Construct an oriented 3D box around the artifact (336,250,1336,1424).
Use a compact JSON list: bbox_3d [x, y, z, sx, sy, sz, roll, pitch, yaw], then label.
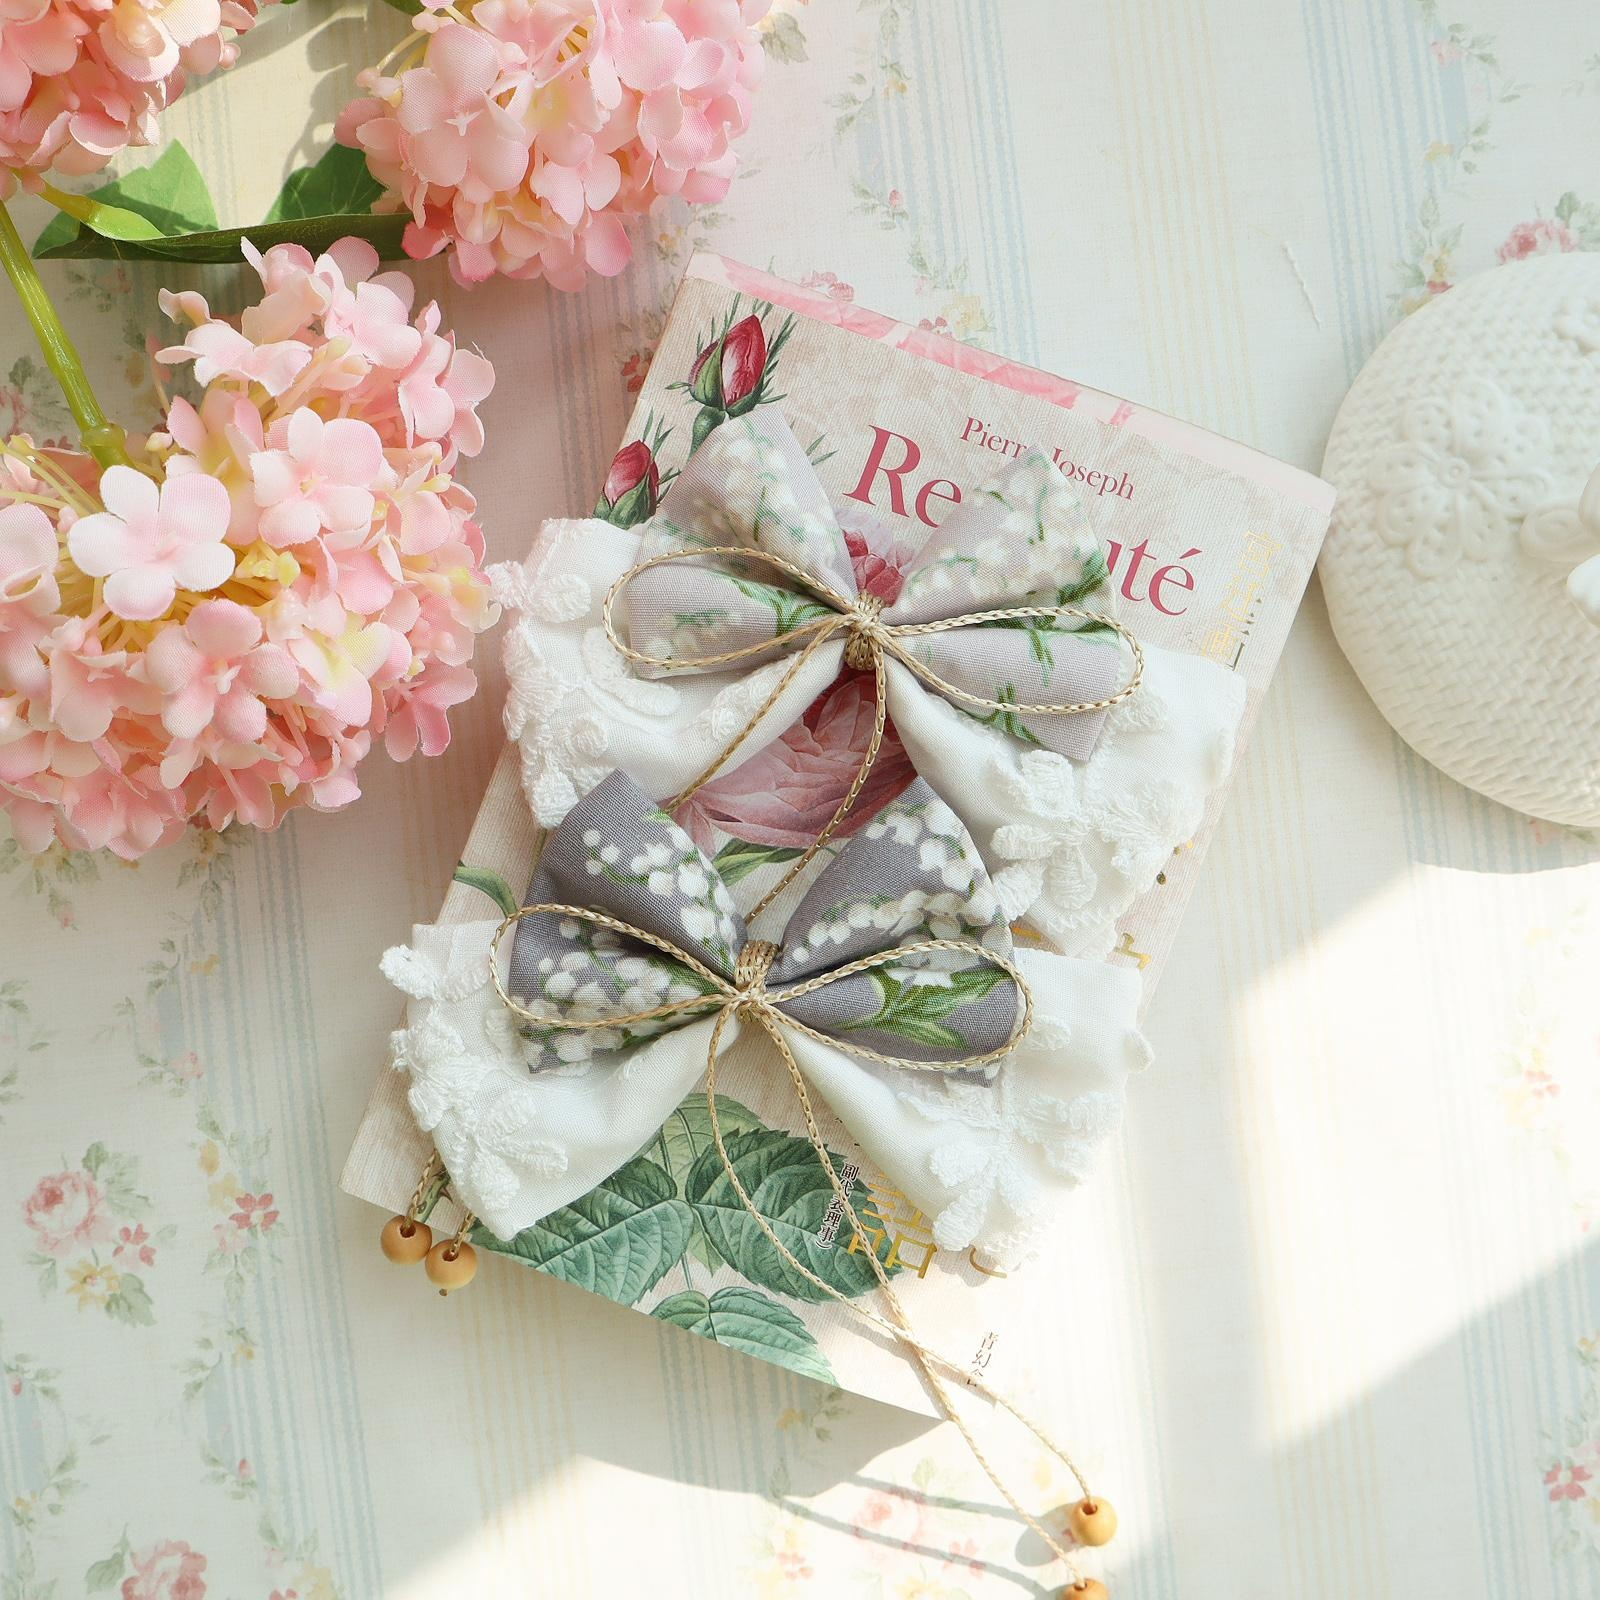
[{"bbox_3d":[0.027,0.021,1.351,0.694,0.208,0.671,24,89,-1],"label":"artifact"}]
